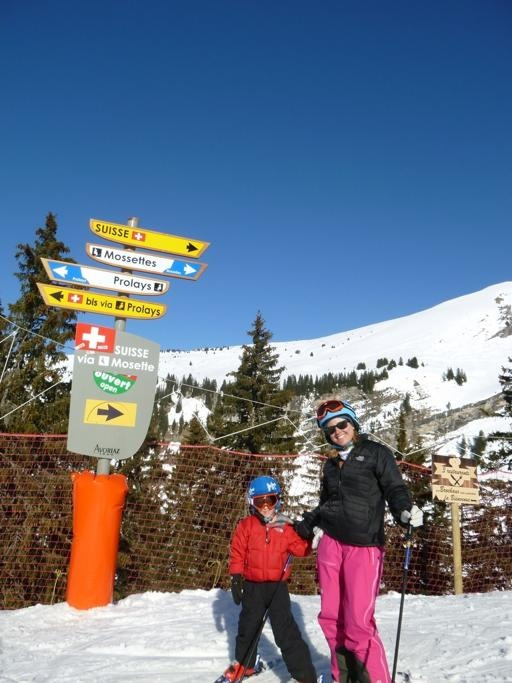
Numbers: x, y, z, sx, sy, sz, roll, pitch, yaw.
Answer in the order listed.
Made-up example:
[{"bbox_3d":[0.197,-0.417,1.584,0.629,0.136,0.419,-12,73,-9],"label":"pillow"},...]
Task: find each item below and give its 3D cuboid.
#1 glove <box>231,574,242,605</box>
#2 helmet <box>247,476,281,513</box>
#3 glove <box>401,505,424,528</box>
[{"bbox_3d":[-0.152,1.971,4.907,0.087,0.229,0.238,-1,-12,4],"label":"glove"},{"bbox_3d":[0.046,1.240,5.005,0.261,0.257,0.285,-4,-22,4],"label":"helmet"},{"bbox_3d":[0.966,1.107,3.906,0.183,0.127,0.078,26,-24,-21],"label":"glove"}]
